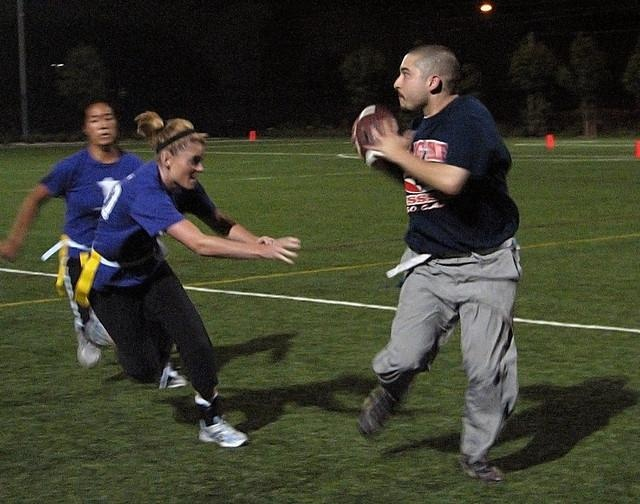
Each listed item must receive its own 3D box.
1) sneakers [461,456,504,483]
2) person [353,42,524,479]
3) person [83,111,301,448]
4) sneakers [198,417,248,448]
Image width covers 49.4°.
[{"bbox_3d":[0.764,1.013,3.242,0.245,0.071,0.082,2,7,26],"label":"sneakers"},{"bbox_3d":[0.612,0.041,3.330,0.764,2.055,0.636,7,17,33],"label":"person"},{"bbox_3d":[-0.799,0.123,3.777,0.477,1.754,1.340,-16,18,-42],"label":"person"},{"bbox_3d":[-0.510,0.954,3.692,0.304,0.094,0.132,2,2,11],"label":"sneakers"}]
